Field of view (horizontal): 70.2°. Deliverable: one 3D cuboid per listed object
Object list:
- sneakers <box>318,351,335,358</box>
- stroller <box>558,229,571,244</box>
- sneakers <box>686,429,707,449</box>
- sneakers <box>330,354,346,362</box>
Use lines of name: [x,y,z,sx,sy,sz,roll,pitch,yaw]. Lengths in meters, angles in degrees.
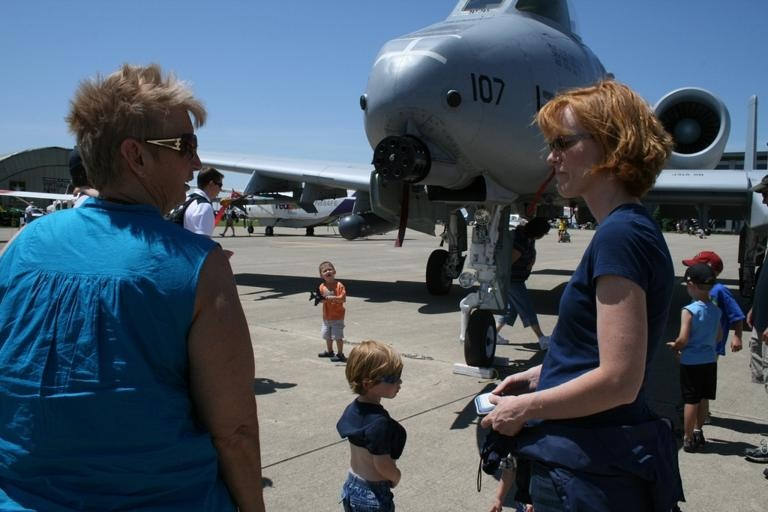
sneakers: [-0.702,1.197,6.734,0.158,0.064,0.088,5,0,8]
stroller: [12.770,-1.428,38.483,0.534,1.290,0.972,3,-5,-38]
sneakers: [2.569,1.493,4.522,0.084,0.115,0.254,-2,1,32]
sneakers: [-0.550,1.208,6.598,0.078,0.080,0.186,-1,-11,18]
